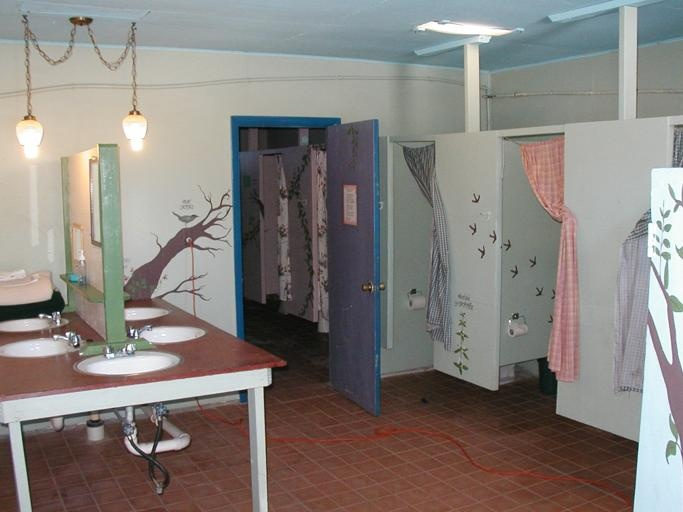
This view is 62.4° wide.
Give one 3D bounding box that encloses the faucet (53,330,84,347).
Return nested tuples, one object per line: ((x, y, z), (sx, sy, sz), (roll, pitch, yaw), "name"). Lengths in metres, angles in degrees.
((-1.807, 0.523, 3.696), (0.320, 0.114, 0.096), (2, 1, 37), "faucet")

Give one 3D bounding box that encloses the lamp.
((-2.128, -1.318, 4.541), (0.999, 1.017, 0.812), (-5, 9, -21), "lamp")

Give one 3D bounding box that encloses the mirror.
((-1.797, -0.237, 3.957), (0.096, 1.098, 1.124), (-2, 6, -28), "mirror")

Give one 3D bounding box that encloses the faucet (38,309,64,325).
((-2.136, 0.451, 4.125), (0.094, 0.102, 0.284), (2, -5, -17), "faucet")

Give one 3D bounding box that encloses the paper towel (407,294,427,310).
((0.777, 0.451, 5.729), (0.188, 0.159, 0.139), (1, -3, -28), "paper towel")

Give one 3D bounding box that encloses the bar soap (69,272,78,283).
((-2.029, 0.161, 4.260), (0.066, 0.055, 0.053), (0, -13, 1), "bar soap")
